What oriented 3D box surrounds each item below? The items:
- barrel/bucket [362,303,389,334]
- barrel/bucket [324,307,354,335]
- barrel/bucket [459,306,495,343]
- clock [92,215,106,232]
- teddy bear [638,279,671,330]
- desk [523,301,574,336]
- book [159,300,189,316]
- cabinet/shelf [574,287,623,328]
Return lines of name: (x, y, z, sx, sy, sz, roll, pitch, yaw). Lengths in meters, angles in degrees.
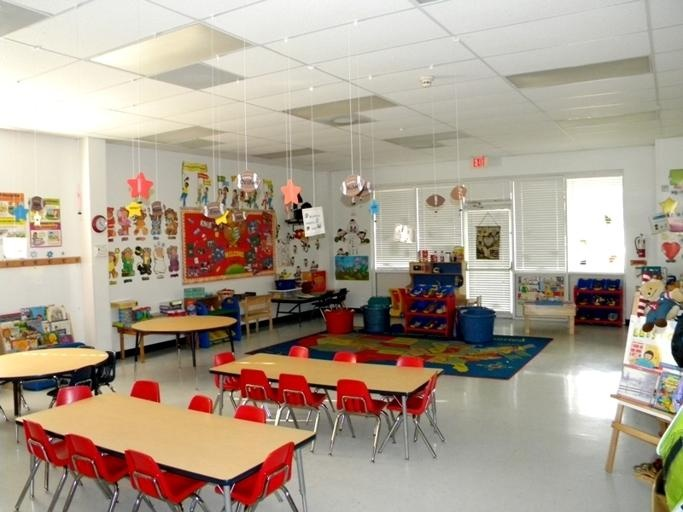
barrel/bucket: (0.785, 1.450, 11.202, 0.659, 0.504, 0.602, 0, -4, 0)
barrel/bucket: (-0.056, 1.506, 11.396, 0.584, 0.415, 0.578, -1, 0, 0)
barrel/bucket: (2.756, 1.401, 10.249, 0.738, 0.528, 0.713, -3, 6, 0)
clock: (-4.404, -0.581, 8.889, 0.090, 0.318, 0.252, 2, 5, 29)
teddy bear: (3.040, 0.478, 4.745, 0.152, 0.442, 0.337, 0, -17, -25)
desk: (4.774, 1.340, 11.366, 1.035, 0.652, 1.834, 1, 4, 20)
book: (-3.488, 1.049, 10.092, 0.354, 0.224, 0.360, 1, 1, 28)
cabinet/shelf: (5.982, 1.192, 11.314, 0.955, 0.883, 0.309, -1, -1, 29)
